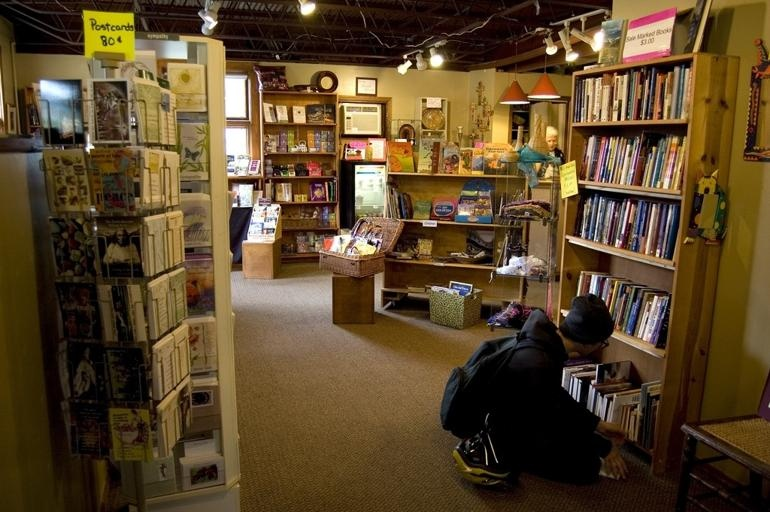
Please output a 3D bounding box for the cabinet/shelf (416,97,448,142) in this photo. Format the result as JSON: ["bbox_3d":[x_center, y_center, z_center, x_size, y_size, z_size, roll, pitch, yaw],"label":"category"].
[{"bbox_3d":[0.995,-2.822,11.314,0.576,0.850,0.633,1,15,4],"label":"cabinet/shelf"}]

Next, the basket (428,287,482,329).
[{"bbox_3d":[0.840,0.558,6.788,0.429,0.550,0.745,-5,7,-43],"label":"basket"}]

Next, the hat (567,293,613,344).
[{"bbox_3d":[1.429,0.397,3.886,0.306,0.246,0.231,-3,3,20],"label":"hat"}]

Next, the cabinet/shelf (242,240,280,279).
[{"bbox_3d":[-1.970,0.024,9.013,0.605,0.561,0.580,0,7,-7],"label":"cabinet/shelf"}]

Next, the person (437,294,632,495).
[{"bbox_3d":[0.822,0.878,4.252,1.406,1.385,1.097,2,9,-12],"label":"person"}]

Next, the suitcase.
[{"bbox_3d":[-0.251,-0.159,6.774,0.760,0.565,0.945,8,16,34],"label":"suitcase"}]

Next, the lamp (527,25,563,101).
[{"bbox_3d":[2.485,-2.968,8.560,0.443,0.930,0.417,5,15,5],"label":"lamp"}]

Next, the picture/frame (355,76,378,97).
[{"bbox_3d":[-0.383,-3.408,11.077,0.441,0.370,0.046,-3,5,-28],"label":"picture/frame"}]

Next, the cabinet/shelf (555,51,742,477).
[{"bbox_3d":[1.804,-0.433,4.110,0.283,2.062,0.958,9,-2,-40],"label":"cabinet/shelf"}]

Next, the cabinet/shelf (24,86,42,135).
[{"bbox_3d":[-5.407,-2.201,8.527,0.218,0.743,0.213,10,16,18],"label":"cabinet/shelf"}]

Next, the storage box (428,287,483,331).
[{"bbox_3d":[0.852,0.623,6.760,0.322,0.410,0.560,-4,3,-37],"label":"storage box"}]

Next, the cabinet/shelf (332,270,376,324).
[{"bbox_3d":[-0.363,0.486,6.829,0.558,0.534,0.557,1,6,6],"label":"cabinet/shelf"}]

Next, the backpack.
[{"bbox_3d":[0.879,0.821,3.983,0.495,0.381,0.847,16,9,13],"label":"backpack"}]

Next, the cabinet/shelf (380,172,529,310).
[{"bbox_3d":[0.883,-0.242,6.749,1.755,1.593,0.529,2,3,10],"label":"cabinet/shelf"}]
